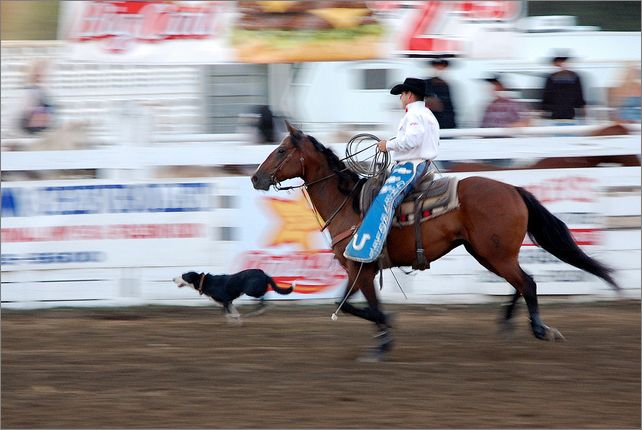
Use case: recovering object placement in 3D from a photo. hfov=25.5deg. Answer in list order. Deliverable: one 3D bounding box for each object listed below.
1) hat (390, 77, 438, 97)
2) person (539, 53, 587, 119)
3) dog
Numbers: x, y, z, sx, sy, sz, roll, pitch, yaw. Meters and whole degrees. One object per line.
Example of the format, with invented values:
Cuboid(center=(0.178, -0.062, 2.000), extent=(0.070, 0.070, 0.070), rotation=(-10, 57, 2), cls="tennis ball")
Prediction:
Cuboid(center=(1.174, -1.635, 18.069), extent=(0.446, 0.123, 0.317), rotation=(14, 10, 6), cls="hat")
Cuboid(center=(3.487, -1.749, 20.500), extent=(0.644, 0.643, 0.488), rotation=(-8, 34, -9), cls="person")
Cuboid(center=(-1.142, 1.067, 19.670), extent=(1.985, 0.620, 0.465), rotation=(-11, -4, 30), cls="dog")
